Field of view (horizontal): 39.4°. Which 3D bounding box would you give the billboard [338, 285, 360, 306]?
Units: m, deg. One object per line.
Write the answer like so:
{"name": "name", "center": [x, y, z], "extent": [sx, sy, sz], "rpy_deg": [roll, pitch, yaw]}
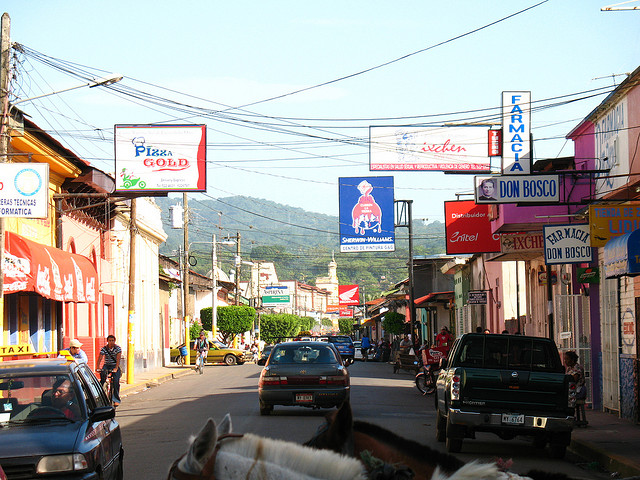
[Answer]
{"name": "billboard", "center": [4.114, 7.972, 128.413], "extent": [3.314, 3.060, 0.383], "rpy_deg": [-9, -39, 5]}

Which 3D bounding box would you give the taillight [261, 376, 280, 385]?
{"name": "taillight", "center": [-1.124, 3.225, 20.524], "extent": [0.429, 0.201, 0.123], "rpy_deg": [-10, -13, 36]}

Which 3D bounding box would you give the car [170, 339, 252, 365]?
{"name": "car", "center": [-6.399, 6.497, 50.718], "extent": [4.103, 1.310, 1.769], "rpy_deg": [-1, -3, 4]}

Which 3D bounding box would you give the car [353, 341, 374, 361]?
{"name": "car", "center": [3.234, 8.711, 71.888], "extent": [1.367, 1.027, 2.171], "rpy_deg": [1, 1, 8]}

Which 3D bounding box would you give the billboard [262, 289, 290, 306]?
{"name": "billboard", "center": [-4.989, 6.260, 101.612], "extent": [2.888, 2.354, 6.988], "rpy_deg": [-1, -11, -5]}

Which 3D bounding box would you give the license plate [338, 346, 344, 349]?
{"name": "license plate", "center": [1.264, 6.338, 52.903], "extent": [0.217, 0.146, 0.118], "rpy_deg": [2, -1, 5]}

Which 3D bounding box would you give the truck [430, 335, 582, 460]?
{"name": "truck", "center": [3.551, 2.879, 17.581], "extent": [2.294, 1.873, 4.320], "rpy_deg": [3, -4, 3]}

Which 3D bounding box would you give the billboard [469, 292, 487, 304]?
{"name": "billboard", "center": [6.375, 2.309, 36.181], "extent": [0.642, 0.554, 1.362], "rpy_deg": [-4, -11, 14]}

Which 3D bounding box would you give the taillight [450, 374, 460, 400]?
{"name": "taillight", "center": [2.373, 2.581, 15.695], "extent": [0.166, 0.439, 0.068], "rpy_deg": [-5, -11, 18]}

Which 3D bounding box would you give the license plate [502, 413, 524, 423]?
{"name": "license plate", "center": [3.331, 3.086, 15.432], "extent": [0.366, 0.147, 0.069], "rpy_deg": [-3, -11, 8]}

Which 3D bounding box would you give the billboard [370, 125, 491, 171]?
{"name": "billboard", "center": [3.507, -2.951, 28.476], "extent": [3.861, 1.617, 0.063], "rpy_deg": [0, -11, 2]}

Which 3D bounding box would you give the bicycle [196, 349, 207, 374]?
{"name": "bicycle", "center": [-5.473, 5.643, 41.467], "extent": [0.382, 1.210, 1.814], "rpy_deg": [0, -11, -8]}

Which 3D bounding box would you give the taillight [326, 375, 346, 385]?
{"name": "taillight", "center": [0.366, 3.206, 20.500], "extent": [0.461, 0.220, 0.075], "rpy_deg": [3, -12, -23]}

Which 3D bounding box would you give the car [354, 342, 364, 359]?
{"name": "car", "center": [3.112, 8.817, 71.681], "extent": [0.988, 0.756, 1.634], "rpy_deg": [1, 2, 8]}

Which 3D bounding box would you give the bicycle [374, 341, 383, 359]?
{"name": "bicycle", "center": [3.736, 7.144, 57.234], "extent": [0.536, 0.963, 1.641], "rpy_deg": [-2, -11, 3]}

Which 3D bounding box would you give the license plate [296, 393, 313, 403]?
{"name": "license plate", "center": [-0.346, 3.583, 20.378], "extent": [0.242, 0.225, 0.061], "rpy_deg": [-1, 1, -3]}

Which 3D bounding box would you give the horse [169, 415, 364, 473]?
{"name": "horse", "center": [-0.446, 1.560, 6.811], "extent": [1.471, 0.437, 0.258], "rpy_deg": [-5, -11, 18]}

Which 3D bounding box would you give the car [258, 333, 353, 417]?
{"name": "car", "center": [-0.395, 3.098, 20.457], "extent": [1.534, 1.095, 3.306], "rpy_deg": [1, 0, 4]}
